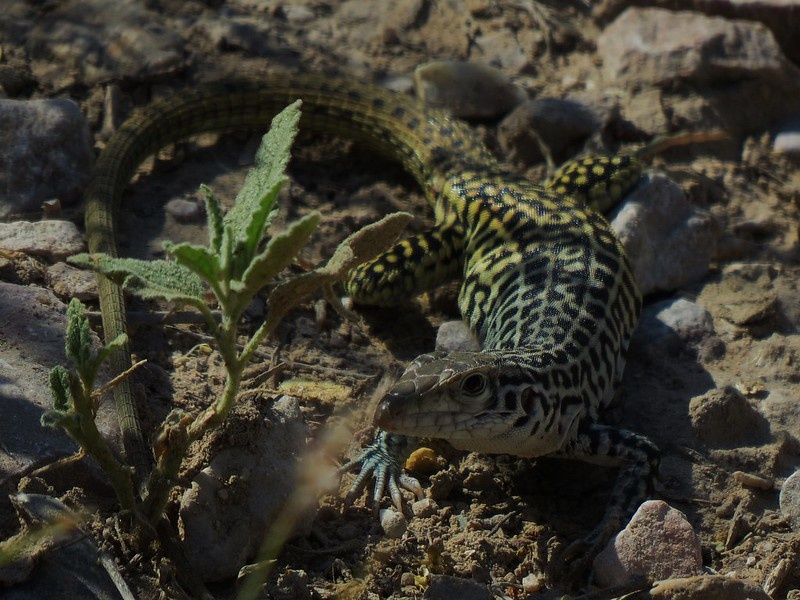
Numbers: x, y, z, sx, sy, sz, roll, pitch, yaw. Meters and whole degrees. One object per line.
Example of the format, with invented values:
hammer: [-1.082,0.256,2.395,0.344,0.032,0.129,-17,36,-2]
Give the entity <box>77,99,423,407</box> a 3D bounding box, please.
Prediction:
entity: [-0.586,-0.135,4.316,1.034,0.930,1.272,5,10,38]
